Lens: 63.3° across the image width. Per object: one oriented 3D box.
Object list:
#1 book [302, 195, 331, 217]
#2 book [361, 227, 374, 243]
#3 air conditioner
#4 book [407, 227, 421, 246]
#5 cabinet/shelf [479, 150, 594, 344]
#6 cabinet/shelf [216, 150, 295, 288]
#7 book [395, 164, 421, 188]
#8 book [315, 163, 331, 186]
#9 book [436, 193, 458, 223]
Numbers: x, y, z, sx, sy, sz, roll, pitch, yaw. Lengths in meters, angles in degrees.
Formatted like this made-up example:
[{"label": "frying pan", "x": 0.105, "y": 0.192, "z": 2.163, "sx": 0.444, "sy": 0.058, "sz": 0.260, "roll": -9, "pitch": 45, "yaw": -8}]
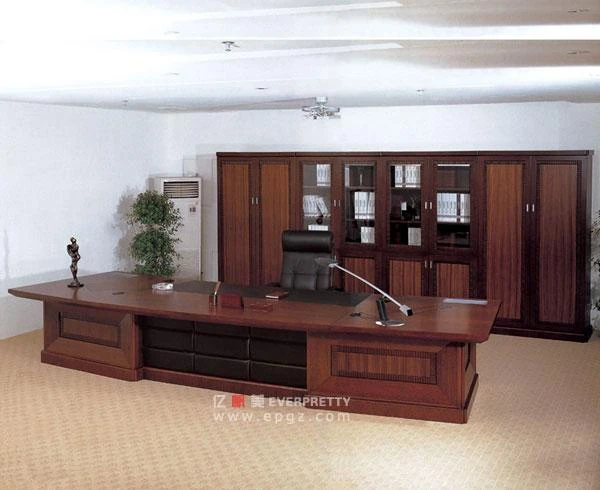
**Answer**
[{"label": "book", "x": 0.221, "y": -0.550, "z": 6.878, "sx": 0.298, "sy": 0.311, "sz": 0.082, "roll": 1, "pitch": 2, "yaw": 5}, {"label": "book", "x": 0.939, "y": -0.123, "z": 6.763, "sx": 0.247, "sy": 0.251, "sz": 0.185, "roll": 0, "pitch": 0, "yaw": 29}, {"label": "air conditioner", "x": -1.871, "y": -0.274, "z": 7.629, "sx": 0.680, "sy": 1.586, "sz": 0.384, "roll": -3, "pitch": 12, "yaw": -9}, {"label": "book", "x": 1.535, "y": -0.100, "z": 6.568, "sx": 0.263, "sy": 0.275, "sz": 0.197, "roll": 0, "pitch": 1, "yaw": 27}, {"label": "cabinet/shelf", "x": 2.915, "y": 0.002, "z": 6.048, "sx": 1.243, "sy": 2.268, "sz": 0.362, "roll": 3, "pitch": 12, "yaw": 21}, {"label": "cabinet/shelf", "x": -0.667, "y": -0.401, "z": 7.214, "sx": 1.110, "sy": 2.381, "sz": 0.290, "roll": -4, "pitch": 44, "yaw": -11}, {"label": "book", "x": 1.452, "y": -0.926, "z": 6.480, "sx": 0.299, "sy": 0.265, "sz": 0.098, "roll": 1, "pitch": 3, "yaw": 22}, {"label": "book", "x": 0.333, "y": -0.995, "z": 6.804, "sx": 0.294, "sy": 0.420, "sz": 0.031, "roll": 2, "pitch": 6, "yaw": 20}, {"label": "book", "x": 1.932, "y": -0.494, "z": 6.351, "sx": 0.366, "sy": 0.458, "sz": 0.035, "roll": 2, "pitch": 3, "yaw": 23}]
